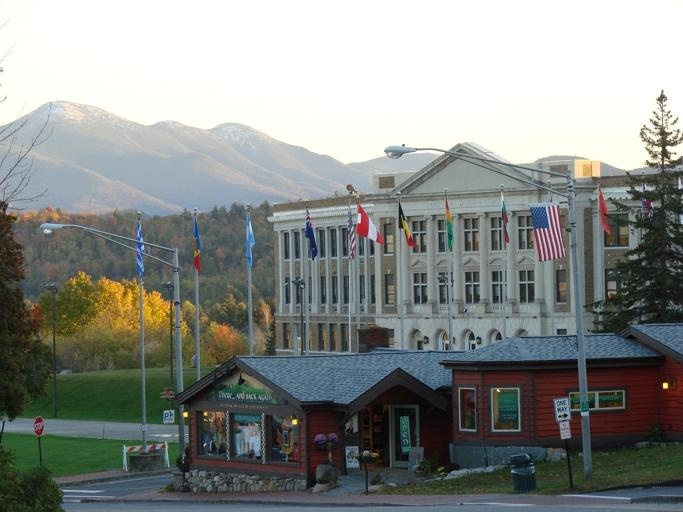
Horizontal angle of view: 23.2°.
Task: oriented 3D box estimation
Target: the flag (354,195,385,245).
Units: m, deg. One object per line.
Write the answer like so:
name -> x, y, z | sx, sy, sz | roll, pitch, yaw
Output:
flag -> 2.511, -3.026, 129.819 | 0.267, 3.663, 3.435 | -15, -26, 32

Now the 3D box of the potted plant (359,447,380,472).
potted plant -> 1.695, 10.443, 86.550 | 1.140, 1.330, 1.215 | -1, -6, 14

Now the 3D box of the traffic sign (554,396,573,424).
traffic sign -> 10.702, 7.186, 78.973 | 0.894, 1.072, 0.777 | -3, 3, -19

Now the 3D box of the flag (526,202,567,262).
flag -> 10.620, -1.330, 84.647 | 1.302, 3.774, 1.321 | -6, -8, 15

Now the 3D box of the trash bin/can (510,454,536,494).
trash bin/can -> 8.957, 10.309, 79.939 | 1.108, 1.724, 0.675 | -2, 2, 7
